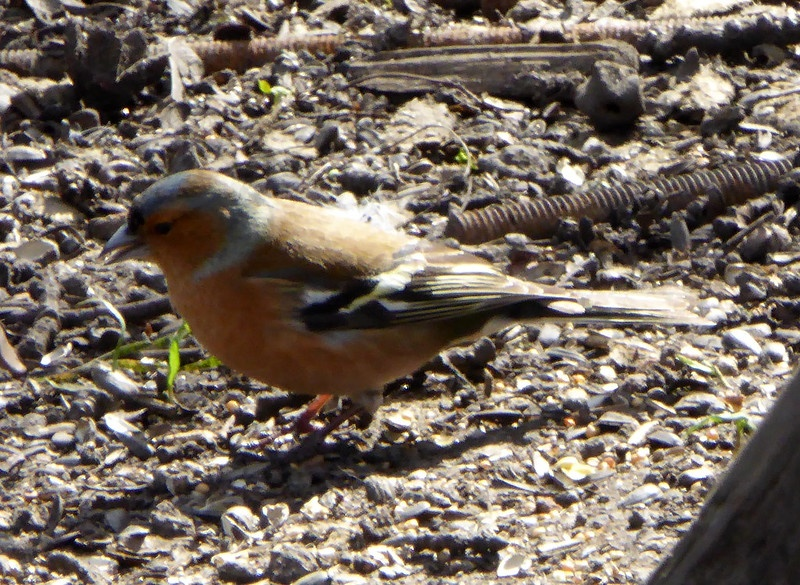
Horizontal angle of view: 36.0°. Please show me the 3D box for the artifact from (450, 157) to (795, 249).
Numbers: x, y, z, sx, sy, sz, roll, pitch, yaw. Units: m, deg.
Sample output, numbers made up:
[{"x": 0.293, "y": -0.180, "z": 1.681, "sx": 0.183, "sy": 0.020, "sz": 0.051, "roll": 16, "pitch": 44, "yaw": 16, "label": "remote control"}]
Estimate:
[{"x": 1.271, "y": -0.474, "z": 6.829, "sx": 1.996, "sy": 0.247, "sz": 0.218, "roll": -9, "pitch": 15, "yaw": -3, "label": "artifact"}]
